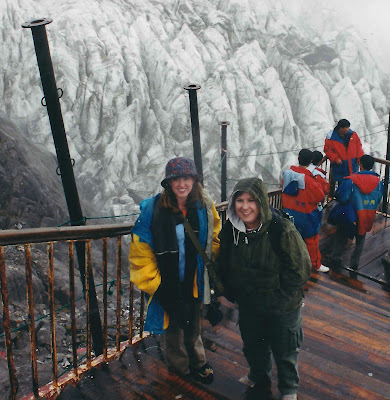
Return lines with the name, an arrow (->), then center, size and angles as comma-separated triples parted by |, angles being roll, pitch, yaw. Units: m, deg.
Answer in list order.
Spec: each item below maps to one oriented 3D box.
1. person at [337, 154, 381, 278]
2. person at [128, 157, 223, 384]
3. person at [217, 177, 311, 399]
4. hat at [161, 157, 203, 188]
person -> 2.014, 0.204, 5.904 | 0.540, 1.528, 0.714 | 3, 5, 20
person -> -0.134, 0.499, 3.302 | 0.631, 1.582, 0.370 | 1, 5, -5
person -> 0.469, 0.610, 3.151 | 0.489, 1.503, 0.335 | 5, 6, 36
hat -> -0.089, -0.189, 3.200 | 0.213, 0.145, 0.171 | -6, 5, -10
